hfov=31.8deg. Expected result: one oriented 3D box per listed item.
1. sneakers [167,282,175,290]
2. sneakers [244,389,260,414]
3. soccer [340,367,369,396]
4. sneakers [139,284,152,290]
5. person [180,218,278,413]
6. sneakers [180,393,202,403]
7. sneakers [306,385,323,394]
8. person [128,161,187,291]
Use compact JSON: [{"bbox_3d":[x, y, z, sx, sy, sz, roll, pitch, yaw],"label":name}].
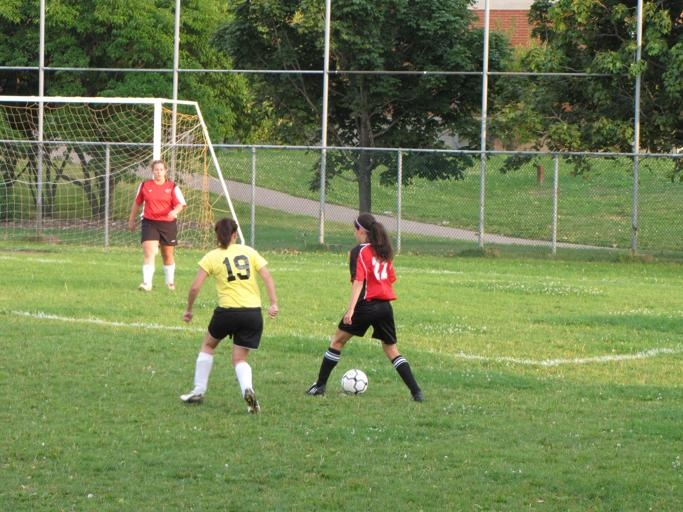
[{"bbox_3d":[-3.665,0.695,26.166,0.130,0.089,0.132,1,1,37],"label":"sneakers"},{"bbox_3d":[-1.497,2.469,20.227,0.174,0.481,0.223,-11,5,-7],"label":"sneakers"},{"bbox_3d":[0.256,2.209,20.917,0.408,0.412,0.410,20,-30,-8],"label":"soccer"},{"bbox_3d":[-4.177,0.711,25.830,0.252,0.112,0.118,21,-11,13],"label":"sneakers"},{"bbox_3d":[-1.815,1.020,20.239,1.448,3.259,0.504,1,4,-7],"label":"person"},{"bbox_3d":[-2.521,2.462,20.494,0.381,0.167,0.144,3,-2,13],"label":"sneakers"},{"bbox_3d":[-0.424,2.352,20.802,0.340,0.160,0.127,1,1,12],"label":"sneakers"},{"bbox_3d":[-3.933,-0.650,26.006,1.094,2.831,1.157,1,4,-10],"label":"person"}]
